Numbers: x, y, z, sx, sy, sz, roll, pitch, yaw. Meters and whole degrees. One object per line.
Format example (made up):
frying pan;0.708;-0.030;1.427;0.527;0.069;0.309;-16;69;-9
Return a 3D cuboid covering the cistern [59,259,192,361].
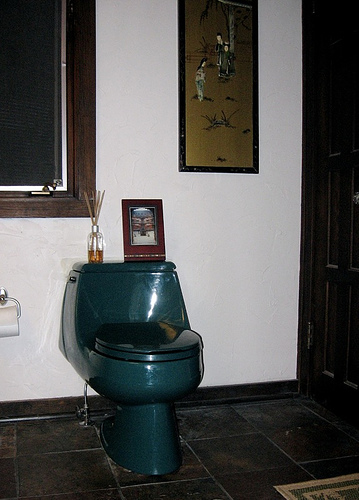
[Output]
cistern;-0.210;0.258;1.735;0.443;0.343;0.370;0;-21;-19

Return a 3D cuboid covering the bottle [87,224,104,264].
bottle;-0.332;-0.028;1.707;0.061;0.158;0.219;1;-1;-12

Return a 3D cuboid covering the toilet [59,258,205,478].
toilet;-0.148;0.376;1.595;0.459;0.657;0.702;1;-3;-31

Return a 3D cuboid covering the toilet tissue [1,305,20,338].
toilet tissue;-0.578;0.242;1.481;0.054;0.098;0.071;1;-1;-22
